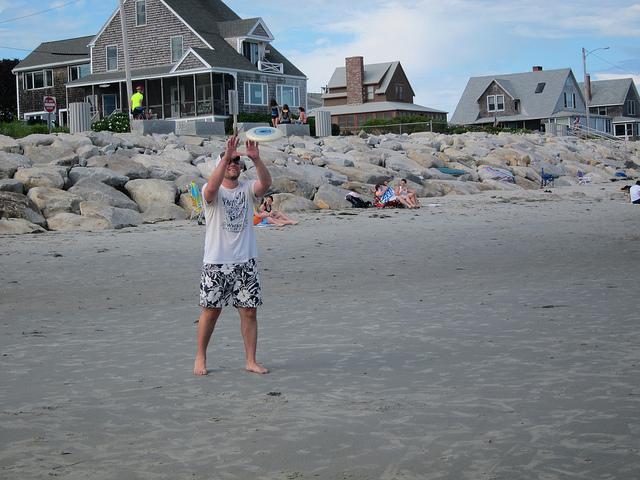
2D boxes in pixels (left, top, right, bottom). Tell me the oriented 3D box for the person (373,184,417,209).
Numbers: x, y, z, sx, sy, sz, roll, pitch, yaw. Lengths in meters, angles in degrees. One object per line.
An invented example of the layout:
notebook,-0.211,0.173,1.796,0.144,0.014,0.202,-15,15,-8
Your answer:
person,2.199,-1.295,23.574,0.673,0.574,1.478,-4,7,-27

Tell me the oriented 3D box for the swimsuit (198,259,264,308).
swimsuit,-0.789,0.476,8.109,0.744,0.513,0.405,-8,-25,35

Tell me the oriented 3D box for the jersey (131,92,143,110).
jersey,-7.804,-5.887,32.924,0.699,0.607,0.265,7,-5,10

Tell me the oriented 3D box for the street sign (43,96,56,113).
street sign,-10.440,-5.205,29.826,0.326,0.539,0.868,-2,7,-11

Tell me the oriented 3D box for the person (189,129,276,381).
person,-0.915,0.150,8.017,0.971,2.435,0.671,-8,10,-44

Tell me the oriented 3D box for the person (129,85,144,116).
person,-8.073,-6.106,33.945,0.574,1.334,2.399,-3,7,-13

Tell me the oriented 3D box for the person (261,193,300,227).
person,-1.084,-0.694,19.334,0.583,0.676,1.337,-5,12,-41
